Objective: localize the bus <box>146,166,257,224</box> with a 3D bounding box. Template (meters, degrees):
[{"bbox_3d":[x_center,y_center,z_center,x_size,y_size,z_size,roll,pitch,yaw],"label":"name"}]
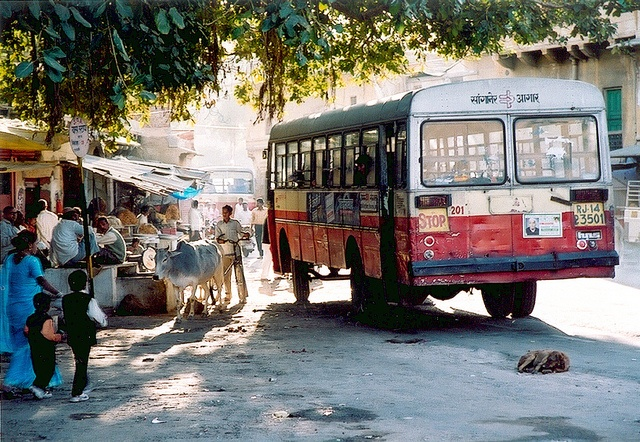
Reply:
[{"bbox_3d":[-7.559,-1.916,43.294,7.047,3.438,2.700,-4,7,-16],"label":"bus"}]

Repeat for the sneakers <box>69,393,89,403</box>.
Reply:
[{"bbox_3d":[-2.861,2.117,7.790,0.213,0.090,0.083,-11,22,-33],"label":"sneakers"}]

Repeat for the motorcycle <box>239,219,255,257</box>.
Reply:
[{"bbox_3d":[-2.801,0.875,27.146,0.996,1.203,2.064,-2,-2,-9],"label":"motorcycle"}]

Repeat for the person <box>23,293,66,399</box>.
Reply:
[{"bbox_3d":[-3.450,1.536,8.141,0.419,1.275,0.439,-2,2,-21],"label":"person"}]

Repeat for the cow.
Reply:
[{"bbox_3d":[-2.740,1.198,13.714,0.641,1.576,1.877,-1,2,16],"label":"cow"}]

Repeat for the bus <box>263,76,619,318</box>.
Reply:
[{"bbox_3d":[1.868,-0.286,12.787,3.196,4.388,6.447,-2,2,-36],"label":"bus"}]

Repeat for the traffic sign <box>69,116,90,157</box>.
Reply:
[{"bbox_3d":[-3.816,-1.334,10.373,0.278,0.654,0.370,-2,2,-21],"label":"traffic sign"}]

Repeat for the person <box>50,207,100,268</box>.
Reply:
[{"bbox_3d":[-5.271,0.399,14.004,0.957,1.308,0.954,14,24,40],"label":"person"}]

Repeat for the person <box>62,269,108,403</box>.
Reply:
[{"bbox_3d":[-2.869,1.362,7.981,0.492,1.557,0.546,-2,2,-22],"label":"person"}]
